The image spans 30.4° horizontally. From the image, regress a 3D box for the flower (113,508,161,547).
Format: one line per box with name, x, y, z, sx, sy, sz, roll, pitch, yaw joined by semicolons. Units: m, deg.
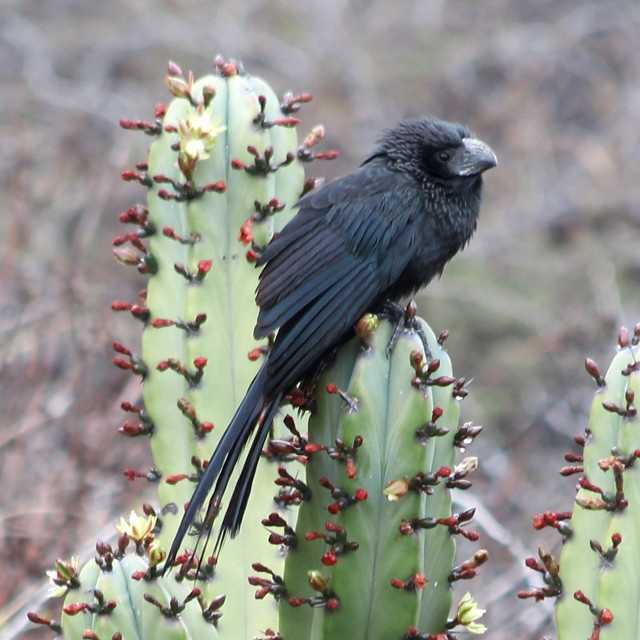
flower;-0.600;0.671;3.837;0.116;0.070;0.169;18;-14;10
